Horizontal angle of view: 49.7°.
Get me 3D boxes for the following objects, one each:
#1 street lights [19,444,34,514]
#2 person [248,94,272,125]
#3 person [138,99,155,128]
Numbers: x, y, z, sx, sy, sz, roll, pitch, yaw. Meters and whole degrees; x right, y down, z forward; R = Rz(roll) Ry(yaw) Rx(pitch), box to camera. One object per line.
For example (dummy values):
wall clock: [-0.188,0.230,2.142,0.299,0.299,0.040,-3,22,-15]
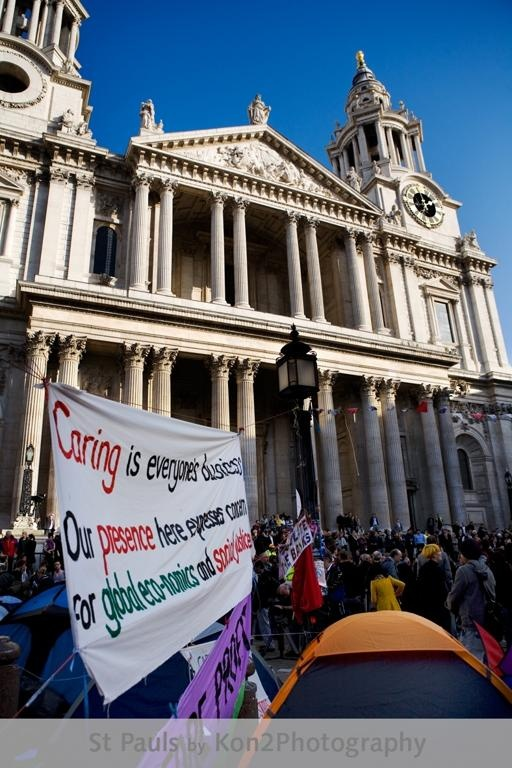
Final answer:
street lights: [-8.106,3.427,19.642,0.479,2.535,0.713,-2,-12,-18]
person: [0.124,-16.778,33.696,1.074,2.301,0.588,-7,-11,5]
person: [-5.741,-14.344,29.474,0.639,2.086,0.885,-6,-11,-1]
